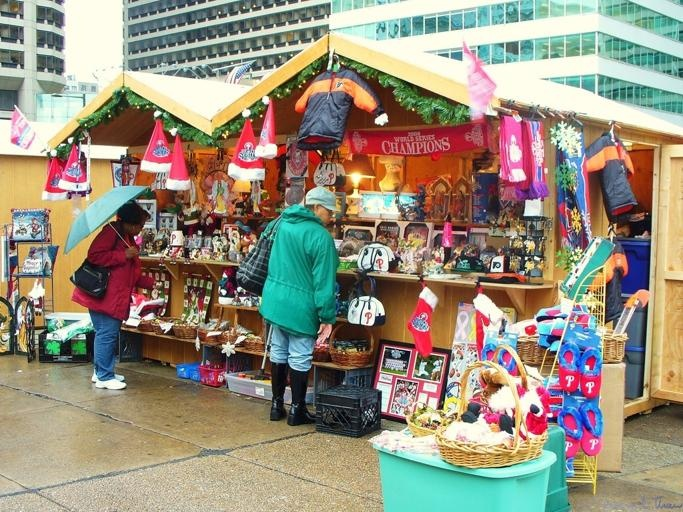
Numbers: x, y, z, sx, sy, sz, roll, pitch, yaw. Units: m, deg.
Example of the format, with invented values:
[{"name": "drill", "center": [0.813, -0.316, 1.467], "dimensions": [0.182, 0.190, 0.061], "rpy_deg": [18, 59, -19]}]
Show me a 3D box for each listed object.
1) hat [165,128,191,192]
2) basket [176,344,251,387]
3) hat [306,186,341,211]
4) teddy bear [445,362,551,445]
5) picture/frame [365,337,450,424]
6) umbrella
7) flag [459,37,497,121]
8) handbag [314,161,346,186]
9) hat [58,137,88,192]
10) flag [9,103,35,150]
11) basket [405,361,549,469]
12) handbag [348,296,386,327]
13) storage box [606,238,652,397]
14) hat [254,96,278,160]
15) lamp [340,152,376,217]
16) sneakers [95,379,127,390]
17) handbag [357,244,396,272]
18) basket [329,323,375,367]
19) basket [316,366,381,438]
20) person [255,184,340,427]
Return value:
[{"name": "hat", "center": [-1.864, -1.089, 7.283], "dimensions": [0.236, 0.653, 0.390], "rpy_deg": [0, 3, -15]}, {"name": "basket", "center": [-1.592, 1.382, 7.959], "dimensions": [0.488, 0.322, 0.754], "rpy_deg": [4, 5, 40]}, {"name": "hat", "center": [-0.186, -0.574, 6.434], "dimensions": [0.279, 0.180, 0.214], "rpy_deg": [-1, 9, -31]}, {"name": "teddy bear", "center": [0.979, 0.990, 4.016], "dimensions": [0.681, 0.512, 0.455], "rpy_deg": [-7, 9, -41]}, {"name": "picture/frame", "center": [0.670, 1.254, 6.321], "dimensions": [0.754, 0.767, 0.037], "rpy_deg": [12, -5, 36]}, {"name": "umbrella", "center": [-2.620, -0.432, 7.067], "dimensions": [0.825, 0.712, 0.643], "rpy_deg": [-1, 4, -30]}, {"name": "flag", "center": [1.138, -1.451, 5.278], "dimensions": [0.257, 0.581, 0.681], "rpy_deg": [2, 4, 13]}, {"name": "handbag", "center": [-0.160, -0.981, 7.696], "dimensions": [0.298, 0.321, 0.078], "rpy_deg": [3, -5, 35]}, {"name": "hat", "center": [-3.516, -1.160, 8.483], "dimensions": [0.390, 0.666, 0.306], "rpy_deg": [1, -6, -35]}, {"name": "flag", "center": [-4.320, -1.750, 8.592], "dimensions": [0.298, 0.787, 0.031], "rpy_deg": [-1, -31, -31]}, {"name": "basket", "center": [0.889, 0.922, 3.893], "dimensions": [0.493, 0.534, 0.713], "rpy_deg": [5, 6, 45]}, {"name": "handbag", "center": [0.261, 0.582, 6.662], "dimensions": [0.314, 0.325, 0.128], "rpy_deg": [3, -6, 29]}, {"name": "storage box", "center": [3.008, 0.686, 6.660], "dimensions": [0.326, 1.723, 0.936], "rpy_deg": [2, 4, 27]}, {"name": "hat", "center": [-0.793, -1.347, 6.661], "dimensions": [0.210, 0.651, 0.625], "rpy_deg": [0, 4, -7]}, {"name": "lamp", "center": [0.184, -0.871, 8.060], "dimensions": [0.400, 0.786, 0.433], "rpy_deg": [6, -7, 23]}, {"name": "sneakers", "center": [-2.705, 1.481, 7.487], "dimensions": [0.307, 0.142, 0.135], "rpy_deg": [1, 4, 5]}, {"name": "handbag", "center": [0.351, 0.025, 6.755], "dimensions": [0.309, 0.254, 0.292], "rpy_deg": [0, 0, 13]}, {"name": "basket", "center": [0.107, 0.959, 6.980], "dimensions": [0.484, 0.537, 0.379], "rpy_deg": [1, -15, 21]}, {"name": "basket", "center": [0.046, 1.435, 6.258], "dimensions": [0.531, 0.424, 0.534], "rpy_deg": [-4, 8, -34]}, {"name": "person", "center": [-0.404, 0.491, 6.389], "dimensions": [0.760, 2.352, 0.577], "rpy_deg": [1, 3, 12]}]
